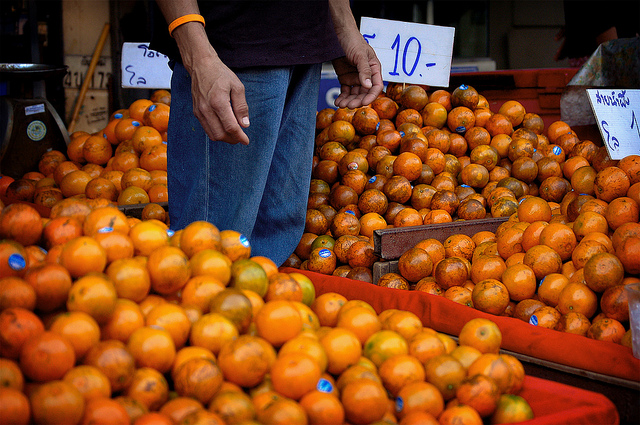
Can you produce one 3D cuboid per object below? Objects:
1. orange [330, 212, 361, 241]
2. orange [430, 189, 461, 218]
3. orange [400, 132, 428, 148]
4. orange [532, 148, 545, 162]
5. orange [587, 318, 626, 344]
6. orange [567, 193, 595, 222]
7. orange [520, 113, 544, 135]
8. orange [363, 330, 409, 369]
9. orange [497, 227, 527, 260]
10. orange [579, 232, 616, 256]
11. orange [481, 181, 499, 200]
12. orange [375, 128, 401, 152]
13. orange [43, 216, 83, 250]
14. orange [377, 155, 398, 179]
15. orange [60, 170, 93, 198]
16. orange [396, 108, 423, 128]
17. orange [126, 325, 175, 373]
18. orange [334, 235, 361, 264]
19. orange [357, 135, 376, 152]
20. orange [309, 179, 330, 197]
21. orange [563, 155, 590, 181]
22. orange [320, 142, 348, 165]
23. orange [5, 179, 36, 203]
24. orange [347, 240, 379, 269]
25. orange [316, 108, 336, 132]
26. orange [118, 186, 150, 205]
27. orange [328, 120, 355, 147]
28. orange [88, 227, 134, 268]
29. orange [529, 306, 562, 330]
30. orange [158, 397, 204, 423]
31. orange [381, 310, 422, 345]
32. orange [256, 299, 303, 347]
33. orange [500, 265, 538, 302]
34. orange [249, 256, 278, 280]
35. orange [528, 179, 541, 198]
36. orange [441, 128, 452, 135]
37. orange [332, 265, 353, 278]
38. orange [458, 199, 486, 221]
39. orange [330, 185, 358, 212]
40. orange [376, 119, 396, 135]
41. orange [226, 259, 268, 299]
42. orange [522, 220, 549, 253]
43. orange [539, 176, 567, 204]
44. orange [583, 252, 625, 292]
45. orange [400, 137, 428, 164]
[{"bbox_3d":[0.161,0.087,3.413,0.161,0.180,0.175,5,12,26],"label":"orange"},{"bbox_3d":[0.839,-0.075,3.519,0.180,0.190,0.168,-11,21,-29],"label":"orange"},{"bbox_3d":[0.706,-0.527,3.930,0.126,0.160,0.135,5,7,39],"label":"orange"},{"bbox_3d":[1.667,-0.438,4.035,0.089,0.096,0.092,-6,12,-26],"label":"orange"},{"bbox_3d":[1.284,0.534,2.362,0.117,0.119,0.109,11,-1,-43],"label":"orange"},{"bbox_3d":[1.505,-0.037,3.085,0.145,0.186,0.150,8,-7,37],"label":"orange"},{"bbox_3d":[1.771,-0.741,4.394,0.169,0.217,0.177,6,39,32],"label":"orange"},{"bbox_3d":[0.244,0.478,1.936,0.123,0.153,0.131,12,36,24],"label":"orange"},{"bbox_3d":[1.085,0.185,3.034,0.162,0.197,0.155,-3,-8,28],"label":"orange"},{"bbox_3d":[1.437,0.138,2.744,0.117,0.149,0.121,-6,14,-10],"label":"orange"},{"bbox_3d":[1.208,-0.173,3.780,0.112,0.067,0.114,-30,16,3],"label":"orange"},{"bbox_3d":[0.490,-0.560,4.013,0.165,0.166,0.199,38,11,-7],"label":"orange"},{"bbox_3d":[-1.062,0.082,2.136,0.153,0.156,0.126,-9,14,-31],"label":"orange"},{"bbox_3d":[0.478,-0.327,3.837,0.148,0.154,0.150,31,17,16],"label":"orange"},{"bbox_3d":[-1.711,-0.194,3.790,0.222,0.196,0.190,-12,-6,-3],"label":"orange"},{"bbox_3d":[0.716,-0.743,4.254,0.150,0.161,0.169,-9,45,43],"label":"orange"},{"bbox_3d":[-0.545,0.477,1.819,0.108,0.136,0.115,9,28,18],"label":"orange"},{"bbox_3d":[0.165,0.207,3.285,0.154,0.182,0.154,-3,17,-4],"label":"orange"},{"bbox_3d":[0.362,-0.533,4.010,0.115,0.144,0.115,-12,-23,36],"label":"orange"},{"bbox_3d":[-0.002,-0.164,3.759,0.128,0.106,0.101,2,5,25],"label":"orange"},{"bbox_3d":[1.754,-0.324,3.660,0.161,0.169,0.170,-6,48,11],"label":"orange"},{"bbox_3d":[0.104,-0.452,3.918,0.162,0.166,0.169,-2,27,-11],"label":"orange"},{"bbox_3d":[-2.109,-0.145,3.718,0.137,0.121,0.112,30,-26,-22],"label":"orange"},{"bbox_3d":[0.251,0.260,3.217,0.170,0.167,0.153,-33,9,-37],"label":"orange"},{"bbox_3d":[0.048,-0.720,4.148,0.138,0.135,0.169,32,61,12],"label":"orange"},{"bbox_3d":[-1.260,-0.107,3.583,0.207,0.104,0.212,-5,22,-30],"label":"orange"},{"bbox_3d":[0.170,-0.610,4.080,0.178,0.188,0.173,-4,7,-32],"label":"orange"},{"bbox_3d":[-0.770,0.120,1.984,0.127,0.137,0.139,-11,6,19],"label":"orange"},{"bbox_3d":[1.089,0.498,2.585,0.146,0.127,0.119,-4,-3,-22],"label":"orange"},{"bbox_3d":[-0.440,0.600,1.652,0.087,0.077,0.074,-5,-10,-13],"label":"orange"},{"bbox_3d":[0.316,0.424,2.004,0.108,0.134,0.108,-1,19,-34],"label":"orange"},{"bbox_3d":[-0.143,0.390,1.938,0.148,0.161,0.160,6,15,41],"label":"orange"},{"bbox_3d":[1.042,0.356,2.790,0.171,0.190,0.183,-6,5,31],"label":"orange"},{"bbox_3d":[-0.228,0.228,2.154,0.078,0.097,0.082,-6,-4,13],"label":"orange"},{"bbox_3d":[1.580,-0.172,3.893,0.105,0.134,0.109,1,-3,14],"label":"orange"},{"bbox_3d":[1.010,-0.660,4.227,0.062,0.038,0.065,14,15,13],"label":"orange"},{"bbox_3d":[0.138,0.363,3.221,0.069,0.040,0.068,-12,1,36],"label":"orange"},{"bbox_3d":[0.993,-0.013,3.457,0.140,0.144,0.137,0,24,3],"label":"orange"},{"bbox_3d":[0.163,-0.100,3.718,0.160,0.169,0.168,-22,-8,-19],"label":"orange"},{"bbox_3d":[0.517,-0.689,4.143,0.125,0.156,0.131,3,-2,-14],"label":"orange"},{"bbox_3d":[-0.266,0.249,2.024,0.134,0.170,0.139,-1,1,4],"label":"orange"},{"bbox_3d":[1.198,0.136,2.974,0.147,0.185,0.147,-1,14,-24],"label":"orange"},{"bbox_3d":[1.599,-0.157,3.627,0.134,0.147,0.186,16,11,29],"label":"orange"},{"bbox_3d":[1.400,0.303,2.539,0.143,0.144,0.147,-29,-42,26],"label":"orange"},{"bbox_3d":[0.693,-0.465,3.903,0.172,0.227,0.182,3,-2,0],"label":"orange"}]
